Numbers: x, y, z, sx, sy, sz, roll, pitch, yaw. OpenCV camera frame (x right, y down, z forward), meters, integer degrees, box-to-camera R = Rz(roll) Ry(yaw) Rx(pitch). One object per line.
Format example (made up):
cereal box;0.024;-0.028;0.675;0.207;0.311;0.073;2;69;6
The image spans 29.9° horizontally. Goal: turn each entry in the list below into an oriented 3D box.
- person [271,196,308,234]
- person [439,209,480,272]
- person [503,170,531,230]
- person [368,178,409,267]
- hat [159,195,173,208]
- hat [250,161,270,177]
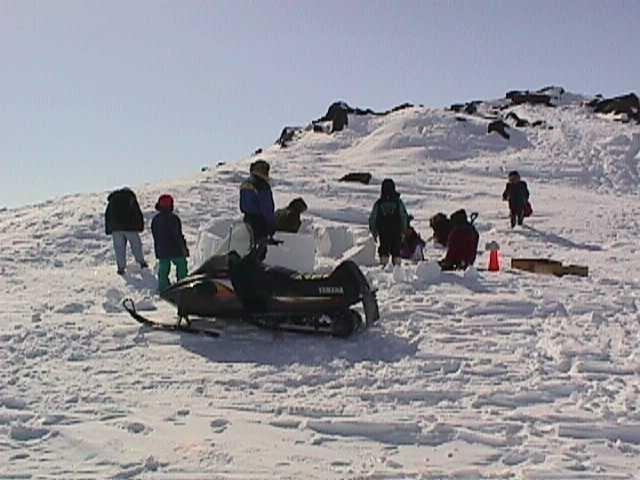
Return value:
person;-0.751;-0.667;32.343;0.809;0.995;1.808;-2;-3;-1
person;3.543;-0.070;30.339;1.041;1.576;1.129;6;18;19
person;6.183;-1.303;37.158;1.070;1.727;0.909;2;16;14
person;1.803;-0.433;30.566;1.000;2.214;0.755;-2;-3;1
hat;-3.754;-0.963;29.417;0.253;0.245;0.360;11;14;13
hat;-1.412;-1.713;28.525;0.431;0.397;0.330;-4;22;-5
